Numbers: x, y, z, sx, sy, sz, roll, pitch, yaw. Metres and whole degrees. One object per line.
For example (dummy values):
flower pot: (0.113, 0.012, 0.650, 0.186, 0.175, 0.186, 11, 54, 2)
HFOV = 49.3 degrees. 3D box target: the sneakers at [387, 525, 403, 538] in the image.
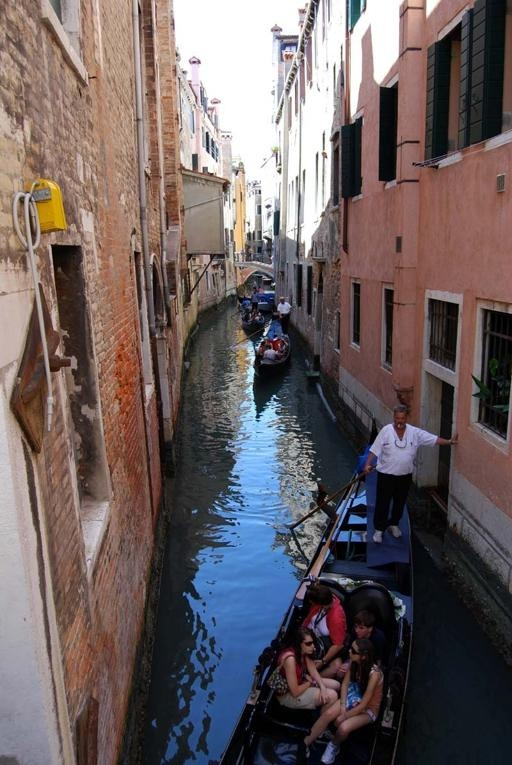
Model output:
sneakers: (1.493, 1.588, 5.913, 0.047, 0.094, 0.181, -2, -2, -6)

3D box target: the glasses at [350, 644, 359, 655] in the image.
glasses: (0.677, 1.783, 3.733, 0.039, 0.079, 0.030, 3, -18, 2)

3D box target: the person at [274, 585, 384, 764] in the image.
person: (0.533, 2.010, 3.800, 0.801, 0.594, 0.698, -13, 14, -43)

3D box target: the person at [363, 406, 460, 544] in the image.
person: (1.865, 1.130, 6.440, 0.959, 2.283, 0.527, 1, 14, 7)
